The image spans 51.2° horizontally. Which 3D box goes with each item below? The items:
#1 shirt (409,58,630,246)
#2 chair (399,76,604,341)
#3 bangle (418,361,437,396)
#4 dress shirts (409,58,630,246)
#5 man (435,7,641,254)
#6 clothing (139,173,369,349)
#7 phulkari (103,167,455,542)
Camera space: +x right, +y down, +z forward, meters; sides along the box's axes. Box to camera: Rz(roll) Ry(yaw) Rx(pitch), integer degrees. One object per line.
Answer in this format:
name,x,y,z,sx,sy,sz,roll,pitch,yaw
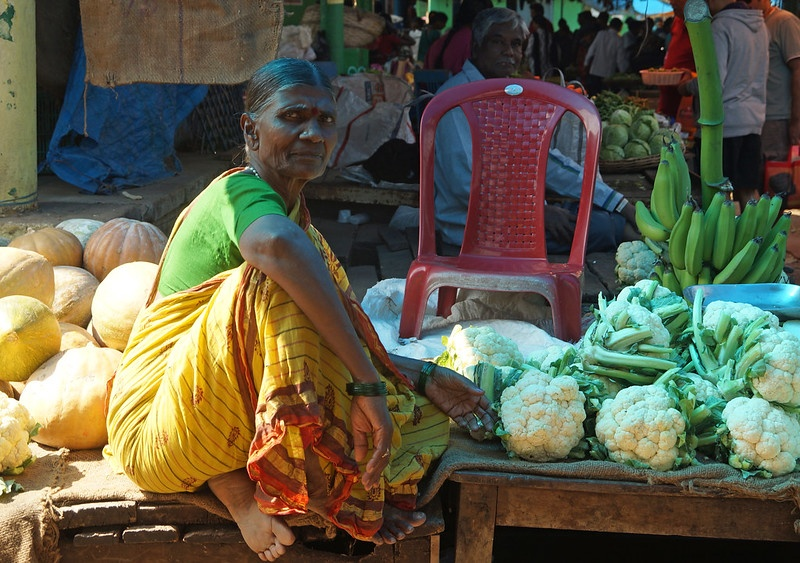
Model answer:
shirt,0.916,-0.828,6.194,0.905,1.739,1.718,8,17,18
chair,0.669,-0.447,5.534,1.302,2.235,1.455,4,17,7
bangle,0.141,0.456,3.930,0.042,0.136,0.107,10,-9,8
dress shirts,0.913,-0.829,6.162,0.905,1.739,1.718,8,17,18
man,0.952,-1.206,6.795,1.317,2.207,1.798,-10,13,-17
clothing,-0.728,-0.295,3.656,0.634,0.809,0.505,18,27,0
phulkari,-0.571,0.634,4.256,1.346,1.958,1.381,-13,-11,6
